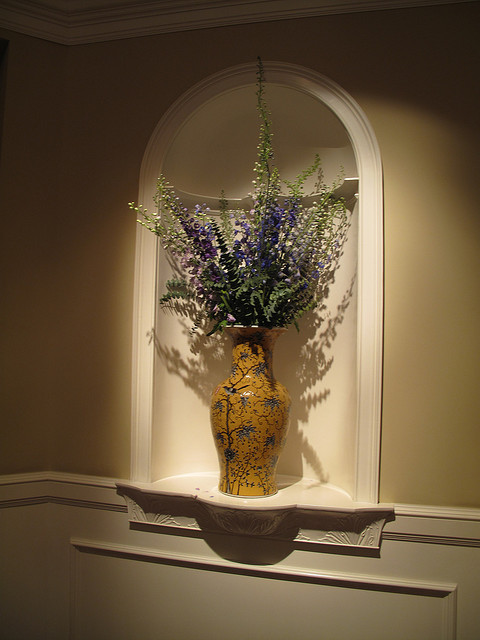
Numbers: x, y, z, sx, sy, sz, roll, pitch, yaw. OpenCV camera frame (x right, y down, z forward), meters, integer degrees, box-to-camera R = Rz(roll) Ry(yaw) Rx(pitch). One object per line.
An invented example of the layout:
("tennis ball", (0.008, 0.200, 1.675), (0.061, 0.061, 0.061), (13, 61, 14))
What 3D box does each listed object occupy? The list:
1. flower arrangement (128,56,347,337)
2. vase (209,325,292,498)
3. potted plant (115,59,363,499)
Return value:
("flower arrangement", (0.026, -0.216, 2.295), (0.877, 1.113, 0.881), (4, -9, -15))
("vase", (0.028, 0.261, 1.708), (0.224, 0.481, 0.186), (1, -14, 4))
("potted plant", (0.065, -0.086, 1.749), (0.612, 0.939, 0.395), (4, -9, -5))
